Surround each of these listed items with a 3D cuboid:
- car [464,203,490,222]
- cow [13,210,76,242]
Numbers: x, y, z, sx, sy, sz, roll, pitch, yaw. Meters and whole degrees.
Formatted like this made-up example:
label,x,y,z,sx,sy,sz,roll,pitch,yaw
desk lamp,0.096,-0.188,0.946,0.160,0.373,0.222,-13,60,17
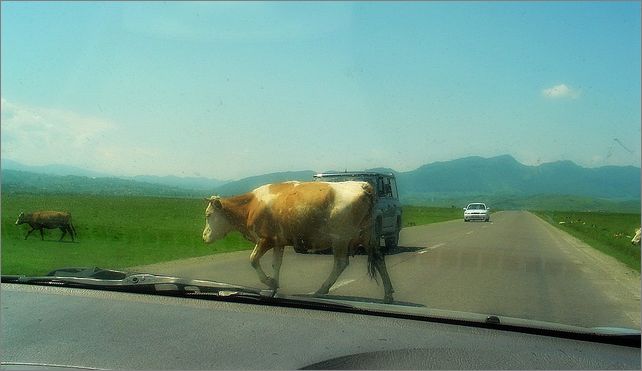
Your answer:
label,x,y,z,sx,sy,sz,roll,pitch,yaw
car,14.582,2.493,48.047,1.643,1.189,2.880,-2,-9,16
cow,-9.152,1.410,17.041,1.551,0.757,2.116,3,1,-34
